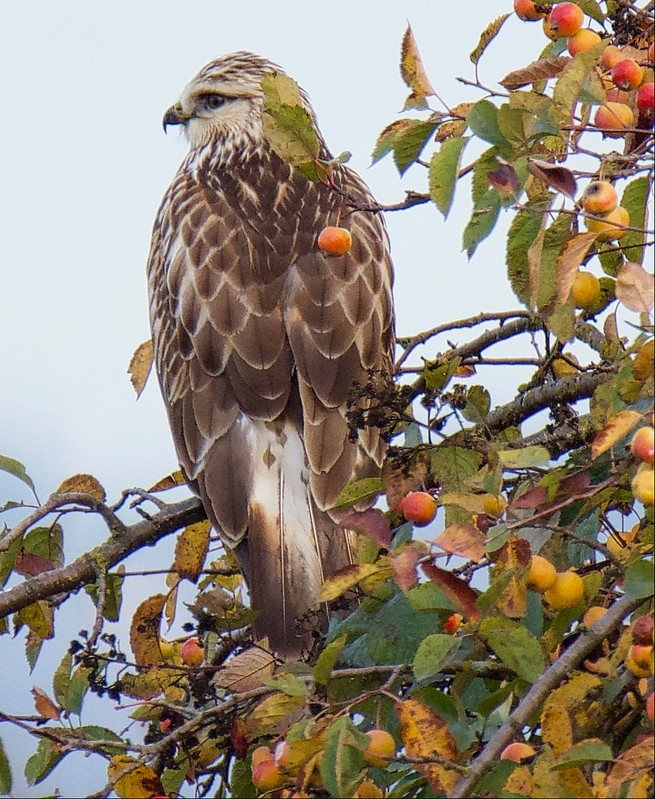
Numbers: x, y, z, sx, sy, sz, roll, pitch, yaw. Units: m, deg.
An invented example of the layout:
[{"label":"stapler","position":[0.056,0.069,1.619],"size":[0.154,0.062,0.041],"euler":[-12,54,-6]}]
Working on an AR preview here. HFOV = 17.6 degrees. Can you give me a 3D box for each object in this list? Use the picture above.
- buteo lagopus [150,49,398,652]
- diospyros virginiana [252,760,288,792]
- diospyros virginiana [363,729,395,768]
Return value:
[{"label":"buteo lagopus","position":[-0.153,-0.107,5.982],"size":[0.627,2.129,1.434],"euler":[1,-72,-10]},{"label":"diospyros virginiana","position":[-0.114,0.713,3.979],"size":[0.044,0.050,0.063],"euler":[-24,-77,39]},{"label":"diospyros virginiana","position":[0.094,0.635,3.878],"size":[0.050,0.056,0.073],"euler":[-3,-82,-15]}]
